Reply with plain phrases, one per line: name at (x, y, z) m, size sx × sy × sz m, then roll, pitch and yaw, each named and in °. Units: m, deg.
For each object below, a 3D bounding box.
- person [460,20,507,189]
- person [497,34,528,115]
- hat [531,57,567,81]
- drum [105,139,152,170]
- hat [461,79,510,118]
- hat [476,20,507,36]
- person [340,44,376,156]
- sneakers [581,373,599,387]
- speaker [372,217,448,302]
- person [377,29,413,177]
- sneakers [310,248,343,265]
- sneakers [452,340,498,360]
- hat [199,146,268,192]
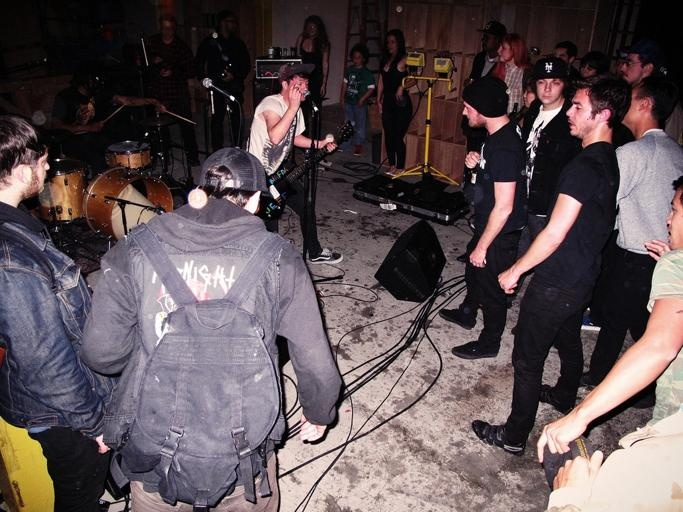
person at (1.843, -1.972, 6.934) m, size 0.557 × 2.038 × 0.556 m, roll -6°, pitch 16°, yaw -39°
person at (2.183, -2.173, 6.612) m, size 0.392 × 1.127 × 0.328 m, roll 1°, pitch 47°, yaw 27°
hat at (1.669, -1.488, 4.130) m, size 0.183 × 0.144 × 0.243 m, roll 17°, pitch 38°, yaw 26°
drum at (-2.419, -1.139, 6.034) m, size 0.494 × 0.264 × 0.492 m, roll 3°, pitch 14°, yaw -1°
hat at (1.024, -1.118, 3.783) m, size 0.290 × 0.182 × 0.291 m, roll 23°, pitch 32°, yaw -16°
hat at (1.972, -2.900, 6.737) m, size 0.282 × 0.160 × 0.280 m, roll 9°, pitch 27°, yaw 15°
person at (0.306, -2.566, 8.775) m, size 0.476 × 1.759 × 0.657 m, roll -6°, pitch 27°, yaw -14°
sneakers at (1.908, 0.941, 4.027) m, size 0.086 × 0.112 × 0.121 m, roll 10°, pitch -3°, yaw 21°
speaker at (0.653, 0.059, 5.006) m, size 0.654 × 0.713 × 0.697 m, roll 20°, pitch 43°, yaw 6°
person at (0.831, -2.250, 7.844) m, size 0.379 × 2.021 × 0.752 m, roll -11°, pitch 29°, yaw -24°
sneakers at (-0.145, 0.020, 5.583) m, size 0.358 × 0.146 × 0.145 m, roll -2°, pitch 38°, yaw -12°
sneakers at (1.113, 0.773, 4.306) m, size 0.362 × 0.144 × 0.152 m, roll 1°, pitch 27°, yaw 0°
hat at (-0.481, -0.377, 2.396) m, size 0.195 × 0.147 × 0.267 m, roll 18°, pitch 23°, yaw 25°
